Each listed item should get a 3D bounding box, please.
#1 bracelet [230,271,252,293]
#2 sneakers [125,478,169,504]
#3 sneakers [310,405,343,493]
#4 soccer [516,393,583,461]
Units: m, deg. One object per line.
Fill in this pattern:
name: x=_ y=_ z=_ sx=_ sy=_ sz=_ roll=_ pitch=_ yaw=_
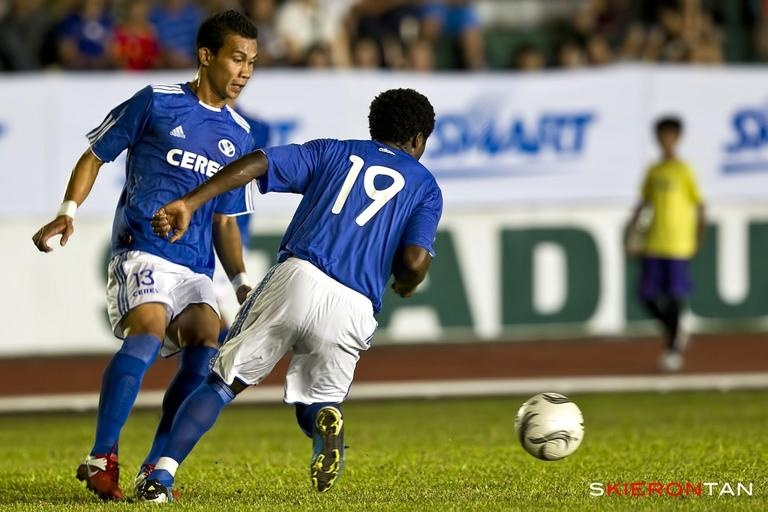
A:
bracelet: x=-1.064 y=0.197 z=9.839 sx=0.130 sy=0.136 sz=0.123 roll=-8 pitch=-6 yaw=-10
sneakers: x=-1.595 y=1.615 z=9.131 sx=0.256 sy=0.185 sz=0.183 roll=-2 pitch=5 yaw=-11
sneakers: x=-0.394 y=1.341 z=9.185 sx=0.212 sy=0.580 sz=0.279 roll=6 pitch=-9 yaw=3
soccer: x=1.305 y=1.274 z=9.862 sx=0.472 sy=0.540 sz=0.447 roll=8 pitch=11 yaw=11
